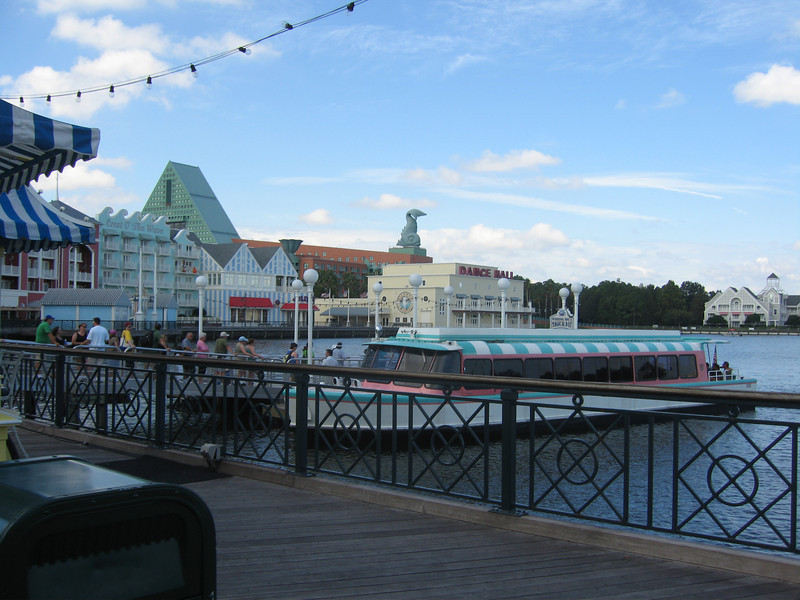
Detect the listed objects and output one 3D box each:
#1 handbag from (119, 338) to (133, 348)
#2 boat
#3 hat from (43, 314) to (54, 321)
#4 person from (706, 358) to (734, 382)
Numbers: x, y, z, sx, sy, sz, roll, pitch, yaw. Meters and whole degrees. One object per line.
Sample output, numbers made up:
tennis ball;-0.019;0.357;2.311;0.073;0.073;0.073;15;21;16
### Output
handbag;-6.623;1.005;26.462;0.183;0.222;0.332;0;-2;11
boat;3.250;1.930;25.497;11.043;2.542;2.389;2;8;-26
hat;-11.466;0.536;35.749;0.433;0.212;0.604;3;0;-20
person;9.224;2.001;31.435;0.648;0.724;1.275;-2;-7;16
